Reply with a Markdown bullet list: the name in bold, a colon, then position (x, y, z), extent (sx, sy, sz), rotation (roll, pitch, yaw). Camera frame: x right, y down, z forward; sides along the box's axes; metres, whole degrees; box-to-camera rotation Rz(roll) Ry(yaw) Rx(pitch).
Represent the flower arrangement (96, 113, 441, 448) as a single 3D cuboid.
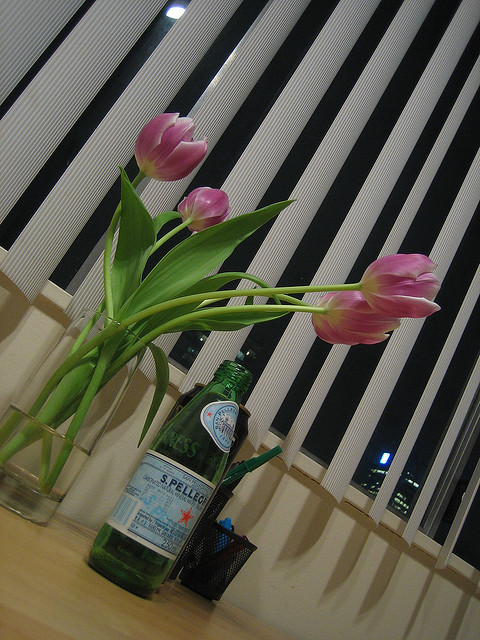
- **flower arrangement**: position (-0.122, -0.092, 0.655), extent (0.164, 0.248, 0.200), rotation (37, -1, -12)
